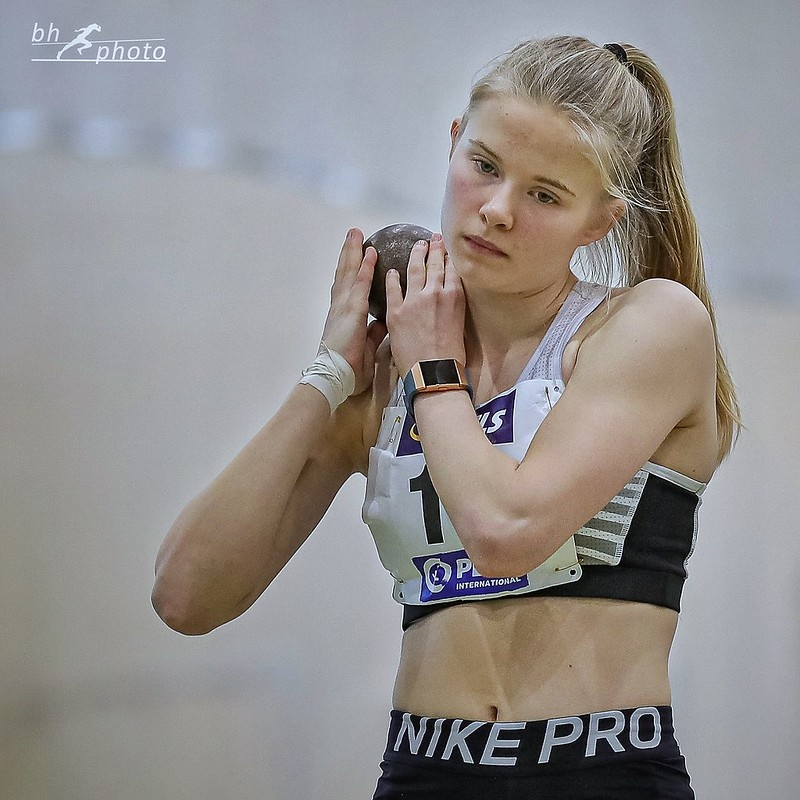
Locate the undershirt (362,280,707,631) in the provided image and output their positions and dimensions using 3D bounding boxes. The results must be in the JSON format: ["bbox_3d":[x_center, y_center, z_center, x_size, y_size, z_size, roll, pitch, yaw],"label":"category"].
[{"bbox_3d":[0.224,0.045,2.547,0.701,0.761,0.429,-5,-4,43],"label":"undershirt"}]

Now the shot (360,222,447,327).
[{"bbox_3d":[-0.009,-0.234,2.654,0.117,0.162,0.132,1,-11,12],"label":"shot"}]

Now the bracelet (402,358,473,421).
[{"bbox_3d":[0.063,-0.027,2.392,0.090,0.104,0.083,-5,6,14],"label":"bracelet"}]
